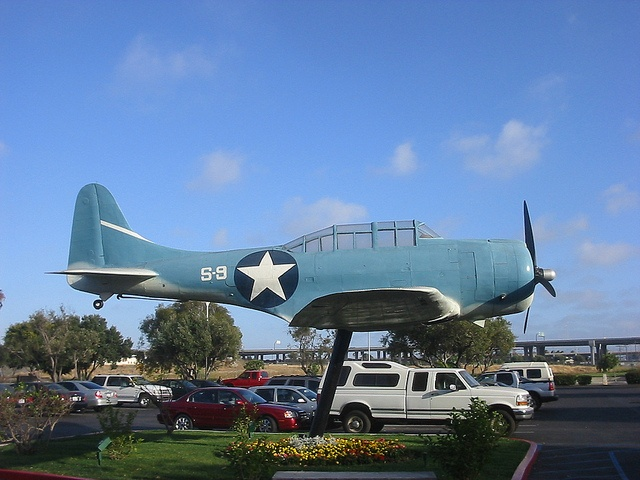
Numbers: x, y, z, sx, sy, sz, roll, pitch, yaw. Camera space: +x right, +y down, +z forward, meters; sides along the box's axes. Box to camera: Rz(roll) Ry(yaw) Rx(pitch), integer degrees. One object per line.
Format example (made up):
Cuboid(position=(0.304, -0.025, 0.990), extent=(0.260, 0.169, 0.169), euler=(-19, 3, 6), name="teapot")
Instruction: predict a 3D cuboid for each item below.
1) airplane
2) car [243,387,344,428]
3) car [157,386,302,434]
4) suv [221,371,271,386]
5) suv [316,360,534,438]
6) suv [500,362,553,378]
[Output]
Cuboid(position=(-0.728, 1.023, 19.634), extent=(8.467, 2.180, 9.444), euler=(-2, -2, 11), name="airplane")
Cuboid(position=(-1.035, 6.458, 25.487), extent=(3.085, 0.980, 1.399), euler=(-2, -7, 14), name="car")
Cuboid(position=(-3.315, 6.413, 23.714), extent=(5.476, 1.231, 2.114), euler=(-2, -6, 12), name="car")
Cuboid(position=(-4.720, 9.151, 42.501), extent=(2.372, 1.020, 3.027), euler=(1, -11, -1), name="suv")
Cuboid(position=(3.923, 5.905, 24.137), extent=(7.493, 2.021, 3.279), euler=(-2, -7, 11), name="suv")
Cuboid(position=(10.510, 6.855, 32.875), extent=(2.463, 1.020, 1.368), euler=(0, -9, 13), name="suv")
